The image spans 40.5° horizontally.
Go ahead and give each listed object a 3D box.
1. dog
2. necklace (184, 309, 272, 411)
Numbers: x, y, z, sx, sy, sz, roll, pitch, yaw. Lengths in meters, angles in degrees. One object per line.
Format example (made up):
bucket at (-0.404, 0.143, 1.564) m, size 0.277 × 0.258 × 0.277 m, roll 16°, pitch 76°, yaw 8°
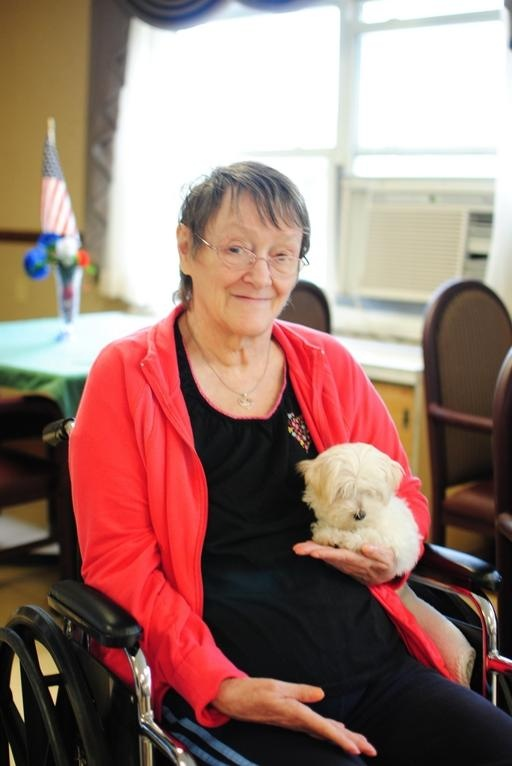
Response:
dog at (0.147, 0.191, 1.031) m, size 0.129 × 0.183 × 0.188 m, roll 1°, pitch 2°, yaw 4°
necklace at (-0.056, -0.016, 1.149) m, size 0.118 × 0.175 × 0.094 m, roll -11°, pitch -13°, yaw -21°
